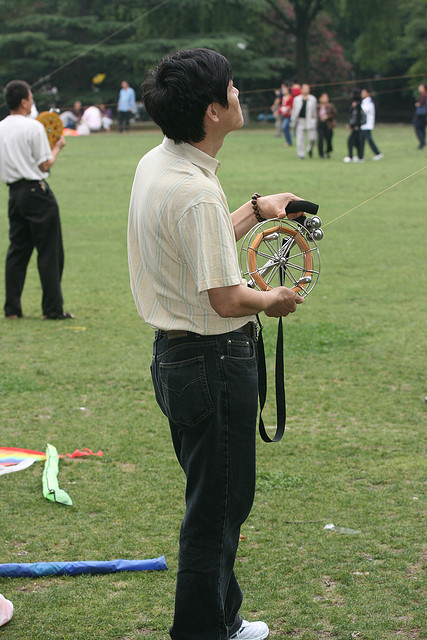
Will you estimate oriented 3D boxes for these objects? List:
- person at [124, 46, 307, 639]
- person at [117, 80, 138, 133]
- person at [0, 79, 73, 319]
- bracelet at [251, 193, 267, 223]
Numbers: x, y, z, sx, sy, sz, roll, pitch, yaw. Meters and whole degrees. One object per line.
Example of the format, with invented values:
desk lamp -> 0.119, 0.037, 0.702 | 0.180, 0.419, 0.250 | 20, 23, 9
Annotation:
person -> -0.021, 0.125, 3.881 | 0.530, 2.022, 0.414 | 1, 14, -4
person -> -1.549, -3.717, 20.012 | 0.349, 0.925, 0.258 | 18, 26, 37
person -> -1.086, -0.699, 6.942 | 0.397, 1.457, 0.291 | 0, 15, -7
bracelet -> 0.154, -0.417, 4.223 | 0.026, 0.089, 0.067 | -16, 13, 9
